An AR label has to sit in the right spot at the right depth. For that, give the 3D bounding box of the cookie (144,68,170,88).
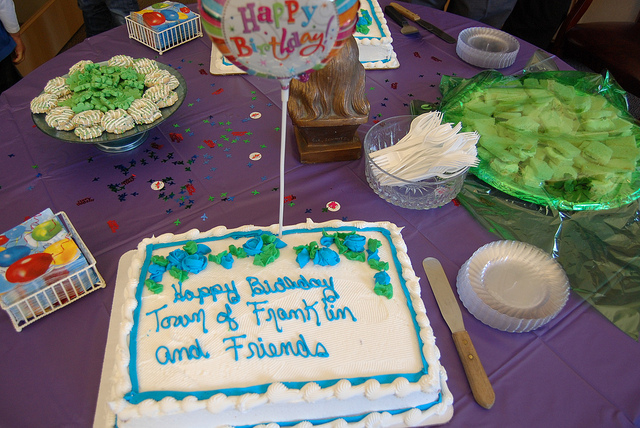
[{"bbox_3d":[-1.017,-0.848,2.795,0.138,0.039,0.111,-30,64,-23],"label":"cookie"}]

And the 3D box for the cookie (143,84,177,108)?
[{"bbox_3d":[-0.967,-0.719,2.734,0.152,0.048,0.146,31,57,10],"label":"cookie"}]

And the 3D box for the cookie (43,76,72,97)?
[{"bbox_3d":[-1.621,-0.792,2.771,0.150,0.046,0.154,18,39,0],"label":"cookie"}]

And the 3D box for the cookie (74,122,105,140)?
[{"bbox_3d":[-1.331,-0.477,2.573,0.120,0.041,0.092,10,59,-12],"label":"cookie"}]

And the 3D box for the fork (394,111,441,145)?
[{"bbox_3d":[0.569,-0.490,2.604,0.038,0.075,0.290,40,91,10],"label":"fork"}]

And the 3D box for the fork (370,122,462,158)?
[{"bbox_3d":[0.556,-0.417,2.557,0.616,0.088,0.094,-18,67,30],"label":"fork"}]

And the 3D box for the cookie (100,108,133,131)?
[{"bbox_3d":[-1.182,-0.544,2.601,0.143,0.039,0.120,7,72,-6],"label":"cookie"}]

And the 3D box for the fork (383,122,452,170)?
[{"bbox_3d":[0.556,-0.376,2.521,0.465,0.051,0.073,-40,60,20],"label":"fork"}]

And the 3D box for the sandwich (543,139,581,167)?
[{"bbox_3d":[1.351,-0.347,2.512,0.177,0.075,0.145,37,64,17],"label":"sandwich"}]

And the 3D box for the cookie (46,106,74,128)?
[{"bbox_3d":[-1.513,-0.570,2.598,0.153,0.038,0.149,5,59,-1],"label":"cookie"}]

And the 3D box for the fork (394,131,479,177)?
[{"bbox_3d":[0.639,-0.328,2.472,0.504,0.040,0.082,-28,62,16],"label":"fork"}]

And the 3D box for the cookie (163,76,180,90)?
[{"bbox_3d":[-0.932,-0.825,2.803,0.080,0.020,0.071,-11,64,-25],"label":"cookie"}]

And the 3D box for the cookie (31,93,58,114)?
[{"bbox_3d":[-1.641,-0.678,2.630,0.125,0.047,0.129,-19,61,-12],"label":"cookie"}]

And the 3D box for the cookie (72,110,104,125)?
[{"bbox_3d":[-1.342,-0.558,2.573,0.115,0.036,0.093,-28,69,-30],"label":"cookie"}]

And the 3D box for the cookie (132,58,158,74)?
[{"bbox_3d":[-1.129,-0.946,2.872,0.126,0.042,0.103,-13,54,-17],"label":"cookie"}]

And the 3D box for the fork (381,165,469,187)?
[{"bbox_3d":[0.570,-0.213,2.473,0.295,0.038,0.035,-15,104,11],"label":"fork"}]

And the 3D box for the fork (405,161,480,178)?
[{"bbox_3d":[0.652,-0.247,2.459,0.422,0.048,0.055,-10,90,21],"label":"fork"}]

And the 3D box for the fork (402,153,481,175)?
[{"bbox_3d":[0.645,-0.274,2.449,0.419,0.058,0.060,-11,86,19],"label":"fork"}]
